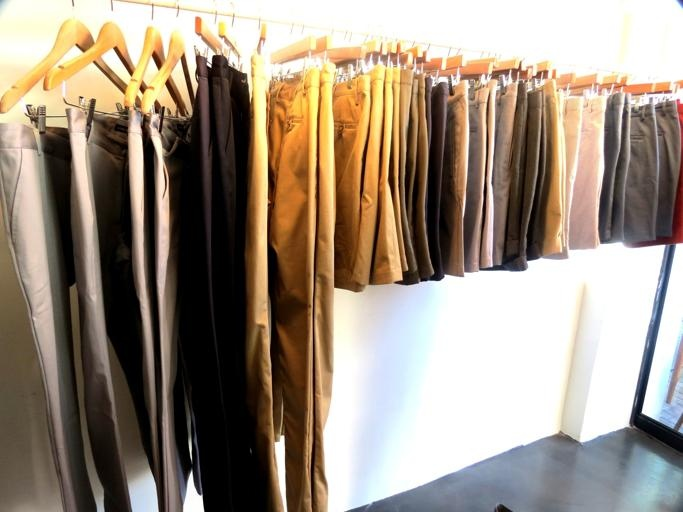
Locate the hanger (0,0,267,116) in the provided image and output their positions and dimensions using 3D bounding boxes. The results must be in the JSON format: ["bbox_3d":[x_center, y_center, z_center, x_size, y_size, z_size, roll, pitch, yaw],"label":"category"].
[{"bbox_3d":[-0.781,-0.731,2.152,0.794,0.407,0.421,-4,17,-11],"label":"hanger"}]
